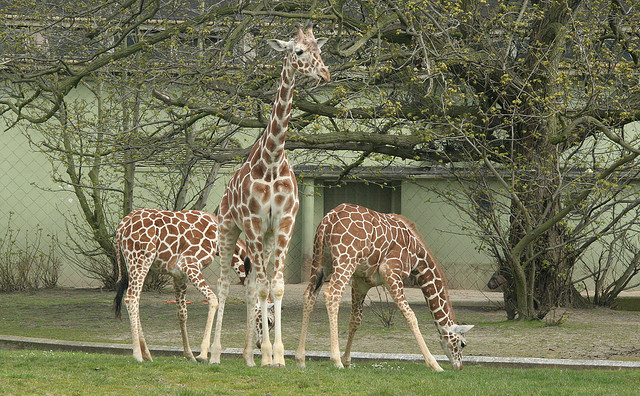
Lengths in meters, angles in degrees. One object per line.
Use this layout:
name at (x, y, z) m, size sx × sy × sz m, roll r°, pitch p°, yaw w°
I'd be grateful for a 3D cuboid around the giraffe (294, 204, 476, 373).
giraffe at (1.441, 1.989, 23.419) m, size 4.610 × 3.285 × 1.215 m, roll 12°, pitch -13°, yaw -41°

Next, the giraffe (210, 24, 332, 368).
giraffe at (-1.109, 0.091, 22.951) m, size 1.978 × 6.605 × 3.401 m, roll 1°, pitch -7°, yaw -6°
